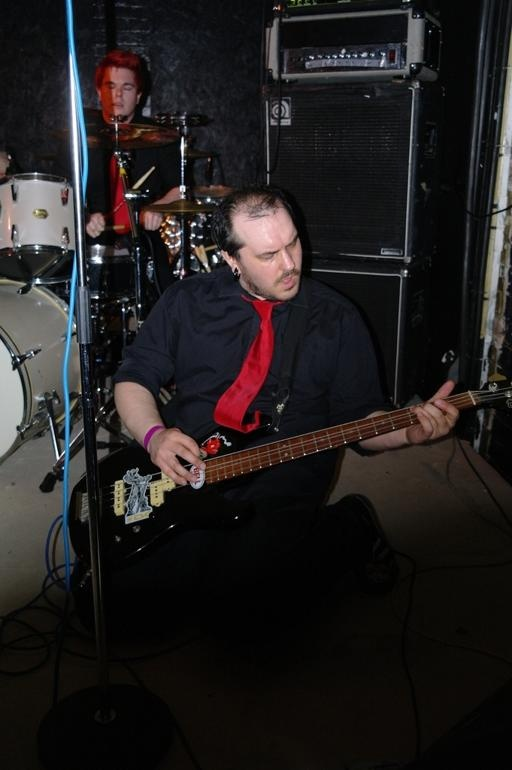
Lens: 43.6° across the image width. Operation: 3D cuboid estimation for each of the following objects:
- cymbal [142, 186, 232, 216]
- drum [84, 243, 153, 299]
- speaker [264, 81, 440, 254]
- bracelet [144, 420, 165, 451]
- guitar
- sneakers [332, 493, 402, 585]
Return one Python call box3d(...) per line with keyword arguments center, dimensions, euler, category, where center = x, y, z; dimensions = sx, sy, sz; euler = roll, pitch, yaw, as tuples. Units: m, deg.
box3d(center=(-0.378, -0.937, 3.357), dimensions=(0.532, 0.144, 0.595), euler=(-4, 12, -13), category="cymbal")
box3d(center=(-0.735, -0.596, 3.354), dimensions=(0.287, 0.188, 0.448), euler=(0, 4, -10), category="drum")
box3d(center=(0.487, -0.902, 3.090), dimensions=(0.879, 0.948, 0.698), euler=(6, 18, 20), category="speaker")
box3d(center=(-0.255, 0.125, 1.612), dimensions=(0.016, 0.064, 0.047), euler=(37, -10, -17), category="bracelet")
box3d(center=(-0.046, 0.219, 1.601), dimensions=(0.752, 0.374, 0.284), euler=(0, 15, 2), category="guitar")
box3d(center=(0.308, 0.455, 1.788), dimensions=(0.147, 0.271, 0.069), euler=(-30, -1, 13), category="sneakers")
